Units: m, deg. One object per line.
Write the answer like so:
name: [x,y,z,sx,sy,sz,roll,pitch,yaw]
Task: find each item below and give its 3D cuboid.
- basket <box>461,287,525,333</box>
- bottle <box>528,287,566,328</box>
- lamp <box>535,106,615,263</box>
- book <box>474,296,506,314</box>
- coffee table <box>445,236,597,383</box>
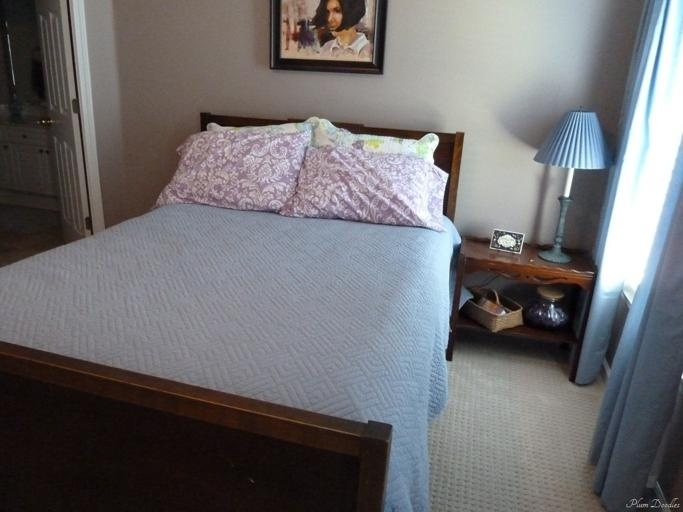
basket: [0.856,0.292,2.965,0.201,0.178,0.346,-12,22,-25]
bottle: [1.167,0.302,2.946,0.215,0.199,0.221,14,16,29]
lamp: [1.247,-0.384,2.809,0.421,0.780,0.340,-14,29,-38]
book: [0.842,0.282,2.916,0.120,0.043,0.078,25,28,28]
coffee table: [1.037,0.195,3.126,0.762,0.733,0.613,10,29,10]
